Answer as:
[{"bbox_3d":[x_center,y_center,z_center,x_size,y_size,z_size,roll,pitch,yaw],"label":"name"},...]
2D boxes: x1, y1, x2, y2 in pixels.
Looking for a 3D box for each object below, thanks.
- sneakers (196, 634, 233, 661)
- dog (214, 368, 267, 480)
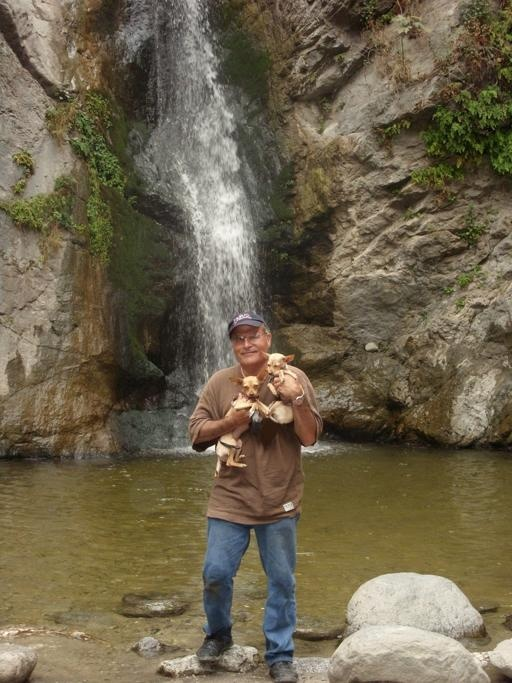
[{"bbox_3d":[-0.231,1.756,4.956,0.115,0.119,0.266,1,2,24],"label":"sneakers"},{"bbox_3d":[-0.080,0.498,4.990,0.302,0.591,0.188,0,3,-3],"label":"dog"}]
